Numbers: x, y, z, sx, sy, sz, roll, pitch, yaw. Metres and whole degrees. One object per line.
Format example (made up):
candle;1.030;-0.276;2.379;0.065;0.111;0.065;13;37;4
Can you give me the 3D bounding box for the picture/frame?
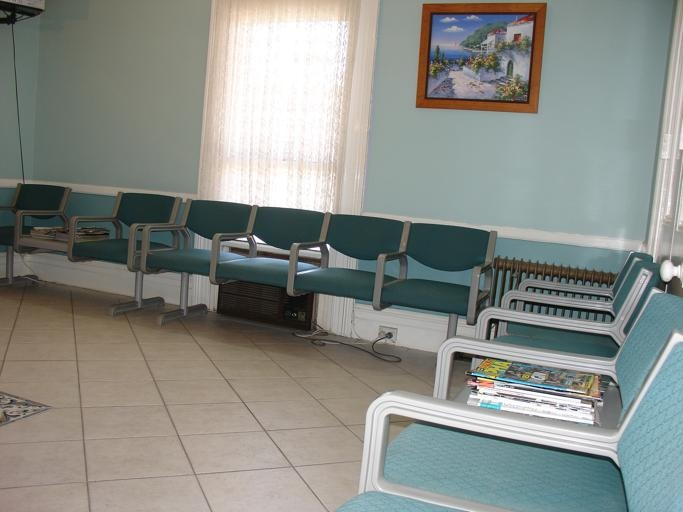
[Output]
picture/frame;1.078;-1.498;3.597;0.951;0.737;0.039;6;10;22
